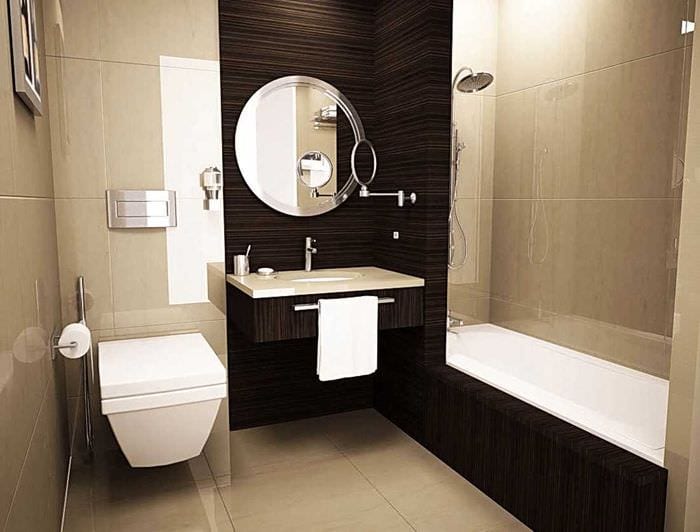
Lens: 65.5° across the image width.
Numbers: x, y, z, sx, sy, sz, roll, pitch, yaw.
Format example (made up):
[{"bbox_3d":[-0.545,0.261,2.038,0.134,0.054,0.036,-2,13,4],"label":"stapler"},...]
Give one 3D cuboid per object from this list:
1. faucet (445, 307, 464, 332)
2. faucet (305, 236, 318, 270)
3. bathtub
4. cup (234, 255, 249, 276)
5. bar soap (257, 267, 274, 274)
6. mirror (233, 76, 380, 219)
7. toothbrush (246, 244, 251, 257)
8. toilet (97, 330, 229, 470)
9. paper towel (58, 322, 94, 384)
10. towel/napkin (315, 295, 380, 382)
[{"bbox_3d":[0.652,0.331,3.337,0.069,0.143,0.137,-5,-6,39],"label":"faucet"},{"bbox_3d":[-0.242,-0.083,3.496,0.081,0.216,0.104,-1,12,-4],"label":"faucet"},{"bbox_3d":[1.058,0.574,2.788,0.525,0.234,1.319,-8,15,-33],"label":"bathtub"},{"bbox_3d":[-0.652,-0.017,3.279,0.092,0.118,0.185,-2,13,-11],"label":"cup"},{"bbox_3d":[-0.513,0.029,3.304,0.098,0.048,0.100,0,13,-1],"label":"bar soap"},{"bbox_3d":[-0.304,-0.768,3.430,0.833,0.930,0.044,-2,6,-29],"label":"mirror"},{"bbox_3d":[-0.627,-0.093,3.354,0.033,0.076,0.082,0,12,-2],"label":"toothbrush"},{"bbox_3d":[-0.923,0.566,2.696,0.527,0.497,0.690,-1,1,-24],"label":"toilet"},{"bbox_3d":[-1.196,0.375,2.337,0.137,0.179,0.192,4,-19,-38],"label":"paper towel"},{"bbox_3d":[-0.009,0.376,2.970,0.460,0.575,0.078,-2,8,-24],"label":"towel/napkin"}]
